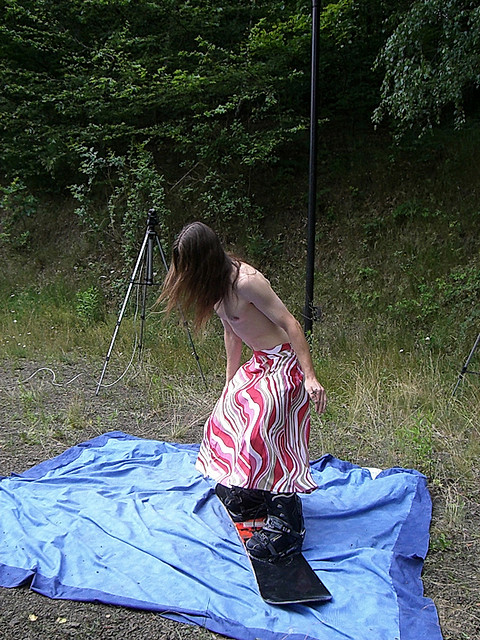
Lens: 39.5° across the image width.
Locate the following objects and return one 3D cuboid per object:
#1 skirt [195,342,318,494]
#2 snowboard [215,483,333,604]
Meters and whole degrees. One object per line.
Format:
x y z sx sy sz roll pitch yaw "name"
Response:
0.127 0.429 3.342 0.589 0.710 0.688 1 -2 -35 "skirt"
0.171 1.094 3.183 0.298 0.040 0.764 -5 17 -13 "snowboard"
